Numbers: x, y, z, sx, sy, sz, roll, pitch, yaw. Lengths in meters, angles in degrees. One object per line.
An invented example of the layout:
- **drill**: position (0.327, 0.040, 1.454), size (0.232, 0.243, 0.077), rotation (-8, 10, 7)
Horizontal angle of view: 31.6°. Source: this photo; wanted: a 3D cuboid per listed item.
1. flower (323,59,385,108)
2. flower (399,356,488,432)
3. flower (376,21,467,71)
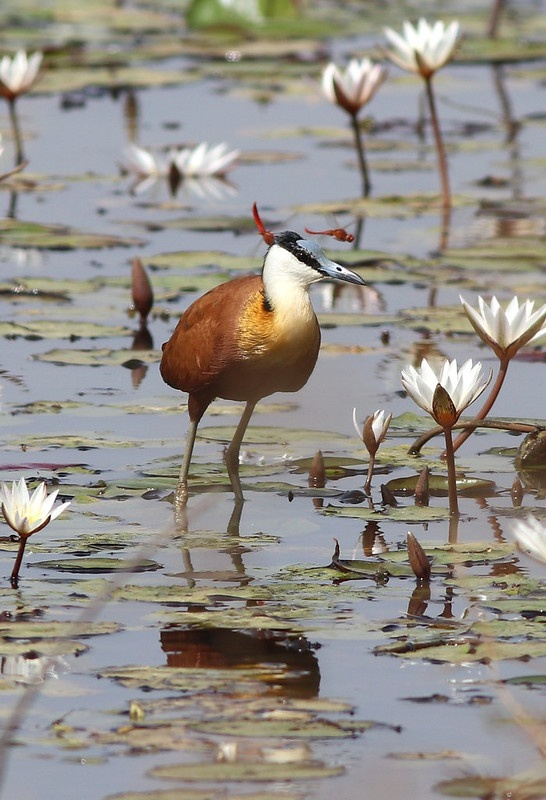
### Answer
- **flower**: position (0.510, -1.947, 6.173), size (0.424, 0.293, 0.367), rotation (0, 9, 18)
- **flower**: position (0.442, -0.014, 2.511), size (0.193, 0.186, 0.257), rotation (-1, 8, -3)
- **flower**: position (0.845, -1.966, 5.612), size (0.438, 0.222, 0.360), rotation (-8, -3, 16)
